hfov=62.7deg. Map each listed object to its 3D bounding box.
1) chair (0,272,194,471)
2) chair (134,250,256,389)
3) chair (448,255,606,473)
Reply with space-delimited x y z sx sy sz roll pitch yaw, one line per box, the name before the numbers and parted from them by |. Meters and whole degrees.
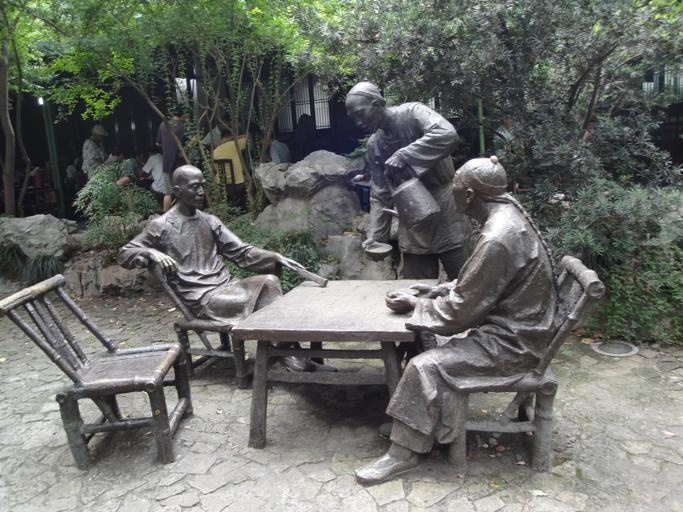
chair | -1.931 0.909 4.588 1.138 1.445 0.752 -2 20 0
chair | -1.648 0.622 6.226 1.421 1.680 1.035 -1 11 1
chair | 1.560 0.708 5.022 1.747 1.963 1.301 -1 6 11
